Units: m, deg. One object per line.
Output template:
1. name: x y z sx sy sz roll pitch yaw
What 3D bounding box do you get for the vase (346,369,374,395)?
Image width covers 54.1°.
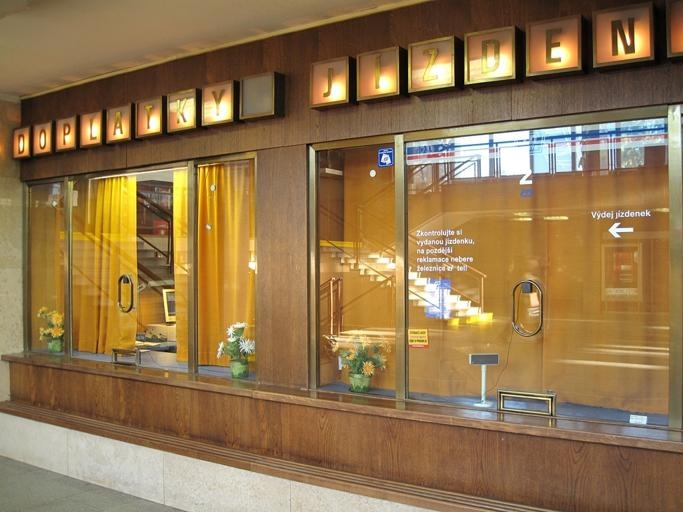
1. vase: 0.158 1.058 5.552 0.161 0.133 0.168 -1 -3 28

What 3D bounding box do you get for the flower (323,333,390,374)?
1. flower: 0.142 0.796 5.597 0.321 0.245 0.379 -2 -22 24

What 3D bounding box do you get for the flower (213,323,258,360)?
1. flower: -0.992 0.801 6.190 0.317 0.383 0.354 4 5 38

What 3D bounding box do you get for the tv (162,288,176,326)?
1. tv: -1.697 0.494 6.602 0.187 0.331 0.044 -5 -7 43

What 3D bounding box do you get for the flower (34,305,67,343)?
1. flower: -3.234 0.759 7.448 0.453 0.388 0.088 -4 -7 37

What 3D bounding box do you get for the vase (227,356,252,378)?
1. vase: -0.926 1.028 6.134 0.170 0.171 0.173 4 5 36

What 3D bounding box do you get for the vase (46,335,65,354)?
1. vase: -3.140 0.970 7.418 0.202 0.213 0.163 1 1 21
